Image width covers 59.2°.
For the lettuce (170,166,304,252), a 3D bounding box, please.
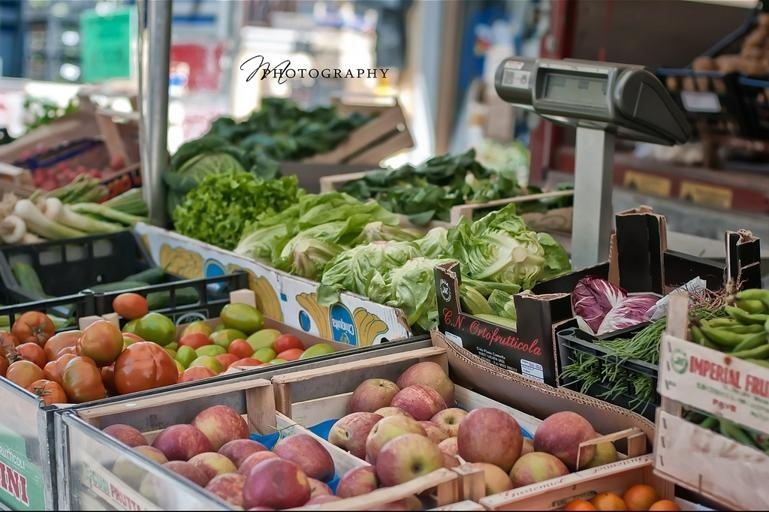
[{"bbox_3d":[-1.062,-0.340,4.674,0.607,0.355,0.614,-19,9,7],"label":"lettuce"}]
